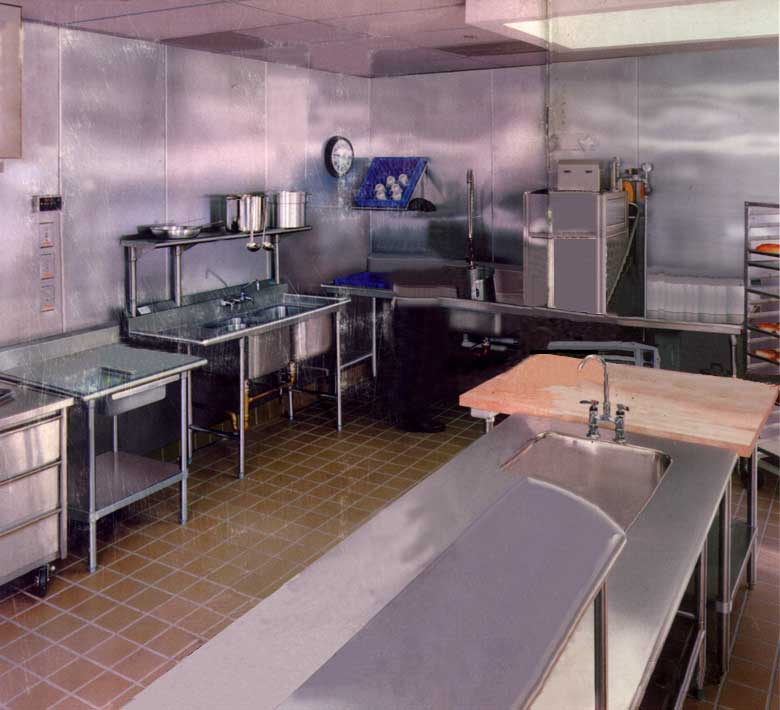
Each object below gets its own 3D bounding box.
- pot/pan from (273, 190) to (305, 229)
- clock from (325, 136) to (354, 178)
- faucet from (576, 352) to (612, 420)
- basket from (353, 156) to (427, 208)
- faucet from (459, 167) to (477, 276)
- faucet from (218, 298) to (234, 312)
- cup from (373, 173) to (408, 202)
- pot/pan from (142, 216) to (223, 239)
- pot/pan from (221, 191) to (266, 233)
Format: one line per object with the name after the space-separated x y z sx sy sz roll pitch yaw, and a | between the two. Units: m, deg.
-0.554 -0.803 3.885 0.206 0.199 0.206 -3 9 -20 | pot/pan
-0.287 -1.123 3.970 0.176 0.231 0.090 2 14 2 | clock
0.636 0.083 2.156 0.108 0.218 0.326 6 15 16 | faucet
-0.016 -0.947 3.848 0.329 0.298 0.077 16 5 27 | basket
0.428 -0.723 3.715 0.068 0.520 0.064 1 14 -4 | faucet
-0.913 -0.283 3.864 0.071 0.031 0.094 1 -2 2 | faucet
-0.001 -0.920 3.847 0.179 0.139 0.065 -3 -5 17 | cup
-1.031 -0.632 3.517 0.227 0.070 0.409 8 16 23 | pot/pan
-0.765 -0.755 3.719 0.247 0.203 0.061 -12 20 -43 | pot/pan
